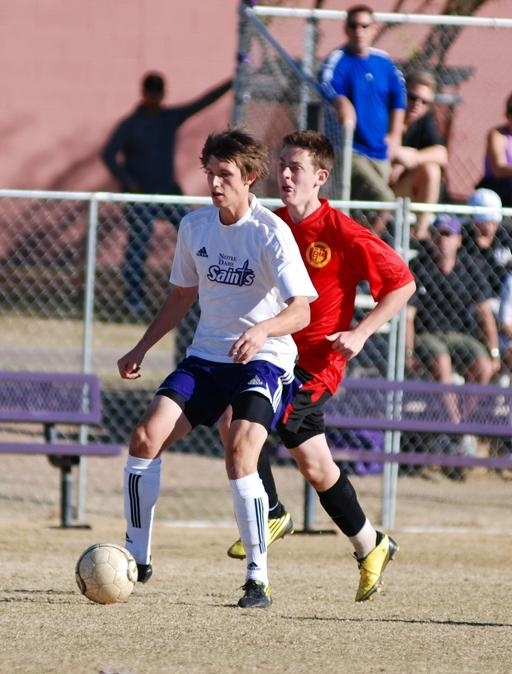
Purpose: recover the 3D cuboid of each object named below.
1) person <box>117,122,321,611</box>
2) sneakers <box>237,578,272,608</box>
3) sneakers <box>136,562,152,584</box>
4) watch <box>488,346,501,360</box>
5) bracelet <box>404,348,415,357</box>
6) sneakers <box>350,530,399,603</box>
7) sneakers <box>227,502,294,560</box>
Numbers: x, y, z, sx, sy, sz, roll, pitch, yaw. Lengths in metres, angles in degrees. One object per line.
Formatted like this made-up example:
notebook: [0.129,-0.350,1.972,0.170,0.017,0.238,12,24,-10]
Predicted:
person: [-0.159,0.118,4.157,0.794,1.732,0.482,3,-1,15]
sneakers: [0.003,1.019,4.097,0.100,0.067,0.155,-1,-7,6]
sneakers: [-0.452,0.959,4.174,0.045,0.103,0.047,-6,40,-13]
watch: [1.684,0.124,7.224,0.088,0.069,0.019,-8,0,-1]
bracelet: [1.049,0.109,6.991,0.060,0.062,0.064,4,-7,-23]
sneakers: [0.511,0.990,4.468,0.202,0.315,0.130,17,-7,-9]
sneakers: [0.010,0.892,4.749,0.403,0.177,0.136,-19,22,-41]
